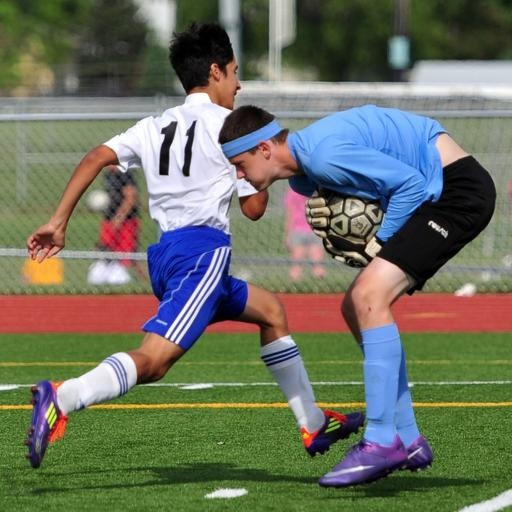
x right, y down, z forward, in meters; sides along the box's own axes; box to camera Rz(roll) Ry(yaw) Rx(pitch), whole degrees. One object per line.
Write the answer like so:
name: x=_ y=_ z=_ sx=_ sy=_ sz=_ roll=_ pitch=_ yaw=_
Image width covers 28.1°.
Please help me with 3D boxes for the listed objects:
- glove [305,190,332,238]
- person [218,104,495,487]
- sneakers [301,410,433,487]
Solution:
glove: x=0.261 y=-0.182 z=4.410 sx=0.059 sy=0.165 sz=0.174 roll=-5 pitch=36 yaw=-21
person: x=0.465 y=0.145 z=4.354 sx=1.147 sy=1.588 sz=0.422 roll=-1 pitch=4 yaw=-2
sneakers: x=0.501 y=0.820 z=4.338 sx=0.555 sy=0.205 sz=0.188 roll=-10 pitch=-19 yaw=-19
